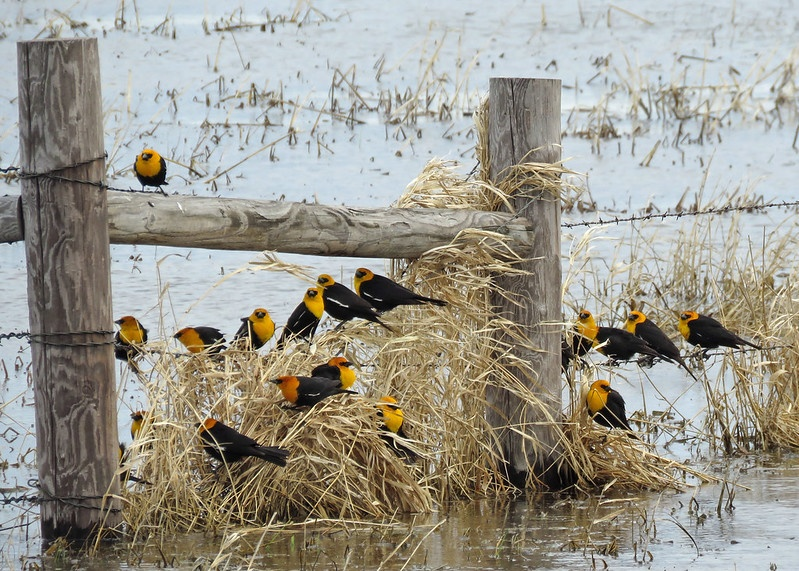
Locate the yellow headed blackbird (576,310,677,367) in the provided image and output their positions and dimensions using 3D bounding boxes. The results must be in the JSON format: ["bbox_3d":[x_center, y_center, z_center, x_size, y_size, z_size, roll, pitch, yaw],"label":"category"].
[{"bbox_3d":[2.436,0.569,18.749,1.178,0.597,0.312,6,15,1],"label":"yellow headed blackbird"}]

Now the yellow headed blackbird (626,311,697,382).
[{"bbox_3d":[2.902,0.562,18.997,0.715,0.844,0.583,-4,13,-15],"label":"yellow headed blackbird"}]

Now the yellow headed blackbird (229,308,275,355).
[{"bbox_3d":[-1.536,0.454,18.241,0.398,0.514,0.622,-2,10,-19],"label":"yellow headed blackbird"}]

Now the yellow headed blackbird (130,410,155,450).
[{"bbox_3d":[-2.567,1.458,17.045,0.163,0.297,0.279,-22,34,0],"label":"yellow headed blackbird"}]

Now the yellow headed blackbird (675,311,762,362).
[{"bbox_3d":[3.505,0.490,18.803,0.371,0.540,0.990,7,-14,-33],"label":"yellow headed blackbird"}]

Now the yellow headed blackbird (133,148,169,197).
[{"bbox_3d":[-2.909,-1.364,20.186,0.482,0.620,1.050,1,2,2],"label":"yellow headed blackbird"}]

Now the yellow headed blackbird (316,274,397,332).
[{"bbox_3d":[-0.491,0.163,17.639,0.767,0.614,0.390,-1,-11,3],"label":"yellow headed blackbird"}]

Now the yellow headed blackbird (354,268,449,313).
[{"bbox_3d":[-0.028,0.084,17.664,1.079,0.441,0.313,7,3,21],"label":"yellow headed blackbird"}]

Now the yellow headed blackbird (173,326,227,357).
[{"bbox_3d":[-2.091,0.559,17.807,0.576,0.368,0.251,-2,-17,-6],"label":"yellow headed blackbird"}]

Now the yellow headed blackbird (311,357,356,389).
[{"bbox_3d":[-0.678,0.847,17.180,0.397,0.292,0.282,14,15,11],"label":"yellow headed blackbird"}]

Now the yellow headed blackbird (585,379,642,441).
[{"bbox_3d":[2.185,1.268,17.781,0.441,0.615,0.542,2,7,26],"label":"yellow headed blackbird"}]
